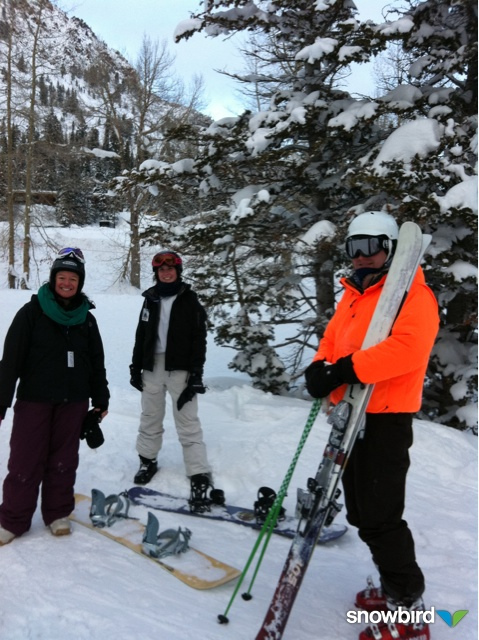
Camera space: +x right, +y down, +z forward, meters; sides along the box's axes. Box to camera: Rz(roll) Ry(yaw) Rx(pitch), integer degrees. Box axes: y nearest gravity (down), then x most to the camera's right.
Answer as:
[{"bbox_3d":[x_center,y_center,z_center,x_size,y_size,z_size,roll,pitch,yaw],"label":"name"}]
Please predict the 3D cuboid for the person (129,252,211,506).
[{"bbox_3d":[-0.538,0.439,4.604,0.896,1.960,0.324,12,8,26],"label":"person"}]

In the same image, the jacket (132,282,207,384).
[{"bbox_3d":[-0.562,0.083,4.582,0.672,0.786,0.358,8,7,6],"label":"jacket"}]

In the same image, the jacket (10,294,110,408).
[{"bbox_3d":[-1.250,0.222,3.821,0.789,0.760,0.353,7,-8,-39],"label":"jacket"}]

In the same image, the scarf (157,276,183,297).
[{"bbox_3d":[-0.571,-0.271,4.517,0.172,0.110,0.198,-3,0,0],"label":"scarf"}]

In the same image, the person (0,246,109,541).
[{"bbox_3d":[-1.206,0.451,3.703,0.592,1.855,0.756,8,7,-3],"label":"person"}]

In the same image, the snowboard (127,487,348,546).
[{"bbox_3d":[-0.147,1.458,4.287,1.990,0.070,0.278,-2,4,33],"label":"snowboard"}]

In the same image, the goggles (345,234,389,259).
[{"bbox_3d":[0.662,-0.394,2.990,0.147,0.072,0.166,-1,1,38],"label":"goggles"}]

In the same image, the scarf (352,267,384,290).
[{"bbox_3d":[0.682,-0.227,3.047,0.111,0.074,0.141,2,8,29],"label":"scarf"}]

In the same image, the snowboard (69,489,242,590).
[{"bbox_3d":[-0.641,1.358,3.687,1.542,0.251,0.334,13,14,34],"label":"snowboard"}]
